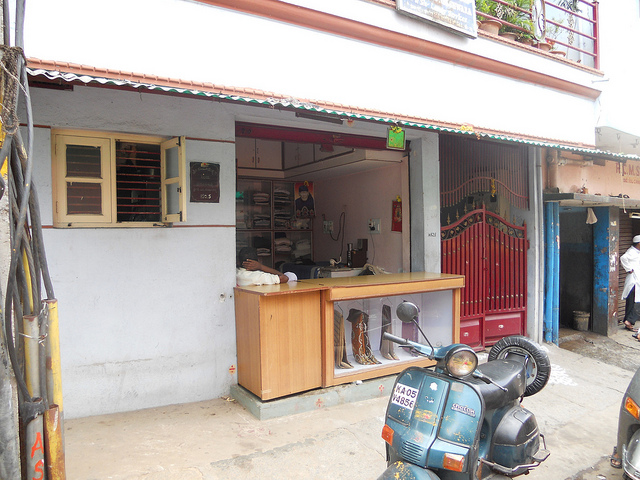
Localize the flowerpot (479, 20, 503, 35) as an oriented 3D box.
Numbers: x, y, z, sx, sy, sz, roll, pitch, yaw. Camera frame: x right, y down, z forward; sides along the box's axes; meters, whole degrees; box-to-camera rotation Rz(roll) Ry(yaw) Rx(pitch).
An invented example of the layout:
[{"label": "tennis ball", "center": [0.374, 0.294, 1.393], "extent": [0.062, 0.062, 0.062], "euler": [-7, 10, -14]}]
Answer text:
[{"label": "flowerpot", "center": [3.040, -3.806, 8.917], "extent": [0.312, 0.158, 0.318], "euler": [13, 21, 33]}]

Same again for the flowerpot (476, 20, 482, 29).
[{"label": "flowerpot", "center": [2.787, -3.786, 8.822], "extent": [0.065, 0.130, 0.249], "euler": [8, 15, 24]}]

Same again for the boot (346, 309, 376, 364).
[{"label": "boot", "center": [0.569, 1.353, 7.050], "extent": [0.380, 0.772, 0.208], "euler": [-2, 14, -14]}]

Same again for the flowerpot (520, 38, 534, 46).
[{"label": "flowerpot", "center": [3.934, -3.760, 9.489], "extent": [0.415, 0.130, 0.079], "euler": [-7, 17, -34]}]

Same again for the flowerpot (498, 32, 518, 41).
[{"label": "flowerpot", "center": [3.409, -3.703, 9.081], "extent": [0.280, 0.117, 0.284], "euler": [-3, 11, -23]}]

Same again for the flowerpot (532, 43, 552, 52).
[{"label": "flowerpot", "center": [4.292, -3.721, 9.633], "extent": [0.256, 0.097, 0.232], "euler": [-5, 10, -26]}]

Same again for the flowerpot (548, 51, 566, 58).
[{"label": "flowerpot", "center": [4.663, -3.665, 9.881], "extent": [0.302, 0.145, 0.458], "euler": [8, 15, 23]}]
